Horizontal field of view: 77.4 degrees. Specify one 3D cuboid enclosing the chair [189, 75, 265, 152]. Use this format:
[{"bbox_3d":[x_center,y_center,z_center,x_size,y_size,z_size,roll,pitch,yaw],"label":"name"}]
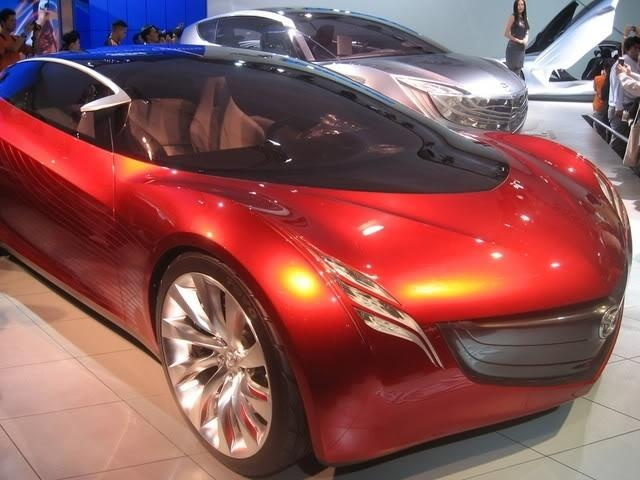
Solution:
[{"bbox_3d":[-0.409,-0.553,1.792,0.304,0.318,0.270,6,30,-3],"label":"chair"}]
